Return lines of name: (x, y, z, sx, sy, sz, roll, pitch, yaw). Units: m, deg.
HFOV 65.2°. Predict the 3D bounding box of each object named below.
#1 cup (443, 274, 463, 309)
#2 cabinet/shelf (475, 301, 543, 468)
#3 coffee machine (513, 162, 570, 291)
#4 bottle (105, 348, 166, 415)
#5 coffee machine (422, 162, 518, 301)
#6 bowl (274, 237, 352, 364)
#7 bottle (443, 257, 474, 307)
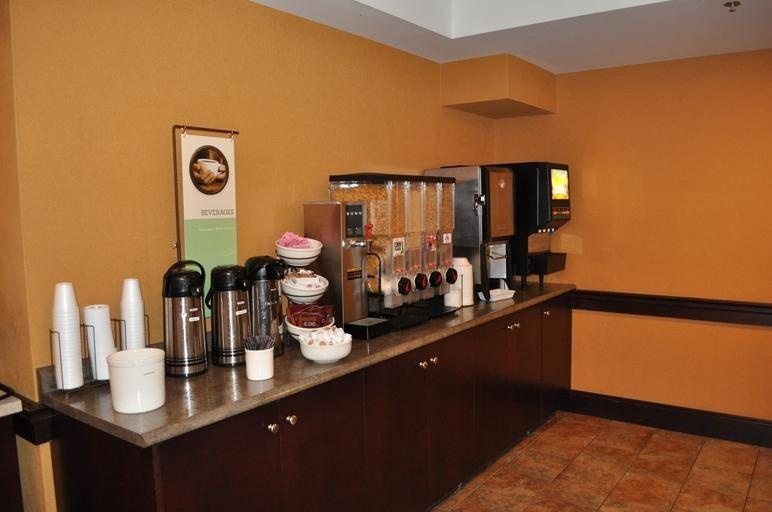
cup: (0.463, 0.267, 4.188, 0.110, 0.215, 0.270, 3, 12, 16)
cabinet/shelf: (0.859, 0.922, 4.302, 0.415, 0.987, 1.114, -2, 1, 30)
coffee machine: (1.259, -0.258, 4.885, 0.544, 1.001, 0.328, -7, 13, -29)
bottle: (-1.092, 0.550, 2.731, 0.253, 0.270, 0.252, -1, 2, -7)
coffee machine: (0.689, -0.187, 4.555, 0.618, 0.981, 0.474, 0, 11, 3)
bowl: (-0.401, 0.218, 3.321, 0.295, 0.631, 0.546, -4, 12, -19)
bottle: (0.543, 0.191, 4.276, 0.291, 0.438, 0.298, -1, 1, 0)
